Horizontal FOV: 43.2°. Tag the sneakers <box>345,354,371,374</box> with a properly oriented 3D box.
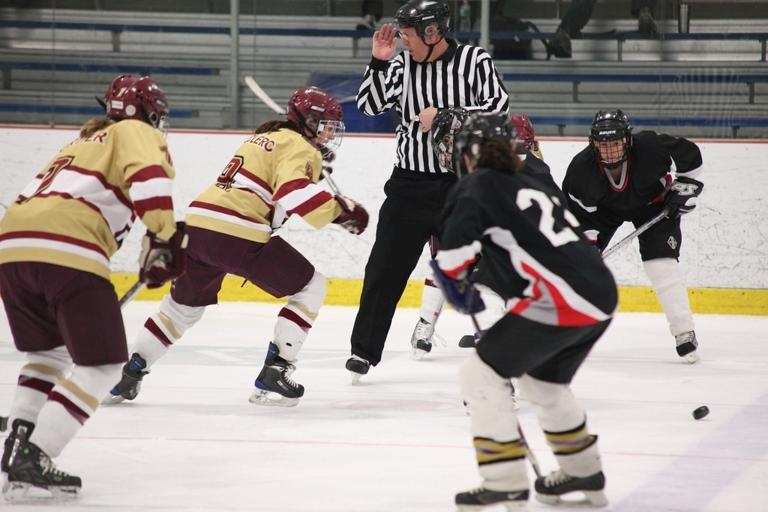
[{"bbox_3d":[-0.154,0.626,5.628,0.100,0.108,0.122,27,18,-9],"label":"sneakers"}]

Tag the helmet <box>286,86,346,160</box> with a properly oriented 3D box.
[{"bbox_3d":[-0.404,-0.765,5.450,0.413,0.343,0.288,17,9,-15],"label":"helmet"}]

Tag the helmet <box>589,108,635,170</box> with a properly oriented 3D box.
[{"bbox_3d":[1.435,-0.756,6.096,0.271,0.329,0.346,-2,22,23],"label":"helmet"}]

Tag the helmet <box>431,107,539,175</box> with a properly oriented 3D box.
[{"bbox_3d":[0.553,-0.642,5.007,0.672,0.452,0.452,2,18,5],"label":"helmet"}]

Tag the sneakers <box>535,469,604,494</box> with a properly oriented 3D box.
[{"bbox_3d":[0.776,0.968,4.150,0.317,0.111,0.108,-1,-2,10],"label":"sneakers"}]

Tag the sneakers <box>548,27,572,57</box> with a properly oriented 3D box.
[{"bbox_3d":[1.516,-1.857,8.351,0.260,0.242,0.144,-3,6,-14],"label":"sneakers"}]

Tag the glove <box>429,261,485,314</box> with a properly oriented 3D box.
[{"bbox_3d":[0.314,0.151,4.155,0.139,0.337,0.116,-28,34,36],"label":"glove"}]

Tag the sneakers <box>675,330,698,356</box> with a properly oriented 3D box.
[{"bbox_3d":[1.947,0.559,6.215,0.079,0.092,0.236,-14,10,31],"label":"sneakers"}]

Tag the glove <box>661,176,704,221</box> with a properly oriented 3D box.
[{"bbox_3d":[1.898,-0.375,6.242,0.113,0.247,0.251,9,33,-49],"label":"glove"}]

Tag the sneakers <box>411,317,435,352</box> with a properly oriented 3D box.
[{"bbox_3d":[0.250,0.504,6.380,0.108,0.169,0.304,20,24,-13],"label":"sneakers"}]

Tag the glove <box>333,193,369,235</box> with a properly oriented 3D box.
[{"bbox_3d":[-0.171,-0.219,5.228,0.227,0.093,0.159,28,15,-6],"label":"glove"}]

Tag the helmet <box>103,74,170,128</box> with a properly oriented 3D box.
[{"bbox_3d":[-1.147,-0.736,4.608,0.307,0.285,0.242,5,8,-32],"label":"helmet"}]

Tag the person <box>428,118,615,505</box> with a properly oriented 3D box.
[{"bbox_3d":[0.591,0.236,4.067,0.827,1.623,0.477,5,12,4],"label":"person"}]
